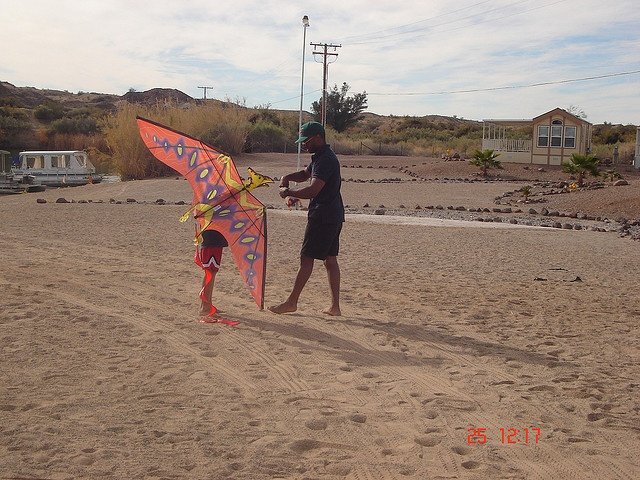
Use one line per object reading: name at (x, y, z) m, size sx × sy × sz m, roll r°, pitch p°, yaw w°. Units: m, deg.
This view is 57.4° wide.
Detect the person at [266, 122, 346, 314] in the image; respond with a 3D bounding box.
person at (-0.058, -0.065, 6.632) m, size 0.771 × 1.911 × 0.804 m, roll 0°, pitch 10°, yaw 7°

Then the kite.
kite at (-1.060, -0.449, 6.633) m, size 1.282 × 2.369 × 0.380 m, roll -39°, pitch -18°, yaw 11°

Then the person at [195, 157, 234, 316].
person at (-1.223, 0.286, 6.682) m, size 0.392 × 1.131 × 0.604 m, roll -3°, pitch 10°, yaw -10°

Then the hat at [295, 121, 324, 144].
hat at (-0.039, -1.181, 6.407) m, size 0.292 × 0.223 × 0.304 m, roll -1°, pitch 10°, yaw 0°

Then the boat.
boat at (-12.259, -3.279, 26.567) m, size 4.108 × 1.403 × 1.356 m, roll -1°, pitch 15°, yaw -2°
